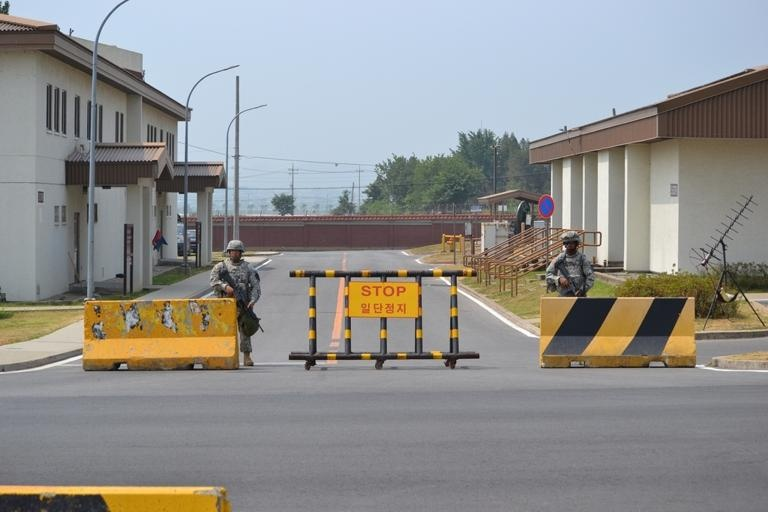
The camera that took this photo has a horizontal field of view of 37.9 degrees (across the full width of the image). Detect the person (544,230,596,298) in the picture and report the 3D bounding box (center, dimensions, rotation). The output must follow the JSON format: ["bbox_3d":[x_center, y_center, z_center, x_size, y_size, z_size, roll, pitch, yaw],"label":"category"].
[{"bbox_3d":[4.302,0.209,25.775,1.050,1.471,0.756,2,10,9],"label":"person"}]

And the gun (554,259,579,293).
[{"bbox_3d":[4.198,0.434,25.679,0.270,0.745,0.145,-28,-3,18],"label":"gun"}]

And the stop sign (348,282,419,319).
[{"bbox_3d":[-0.034,1.013,25.601,1.658,0.837,0.304,0,10,1],"label":"stop sign"}]

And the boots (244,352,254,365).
[{"bbox_3d":[-3.162,2.484,26.403,0.172,0.371,0.359,3,-11,-24],"label":"boots"}]
